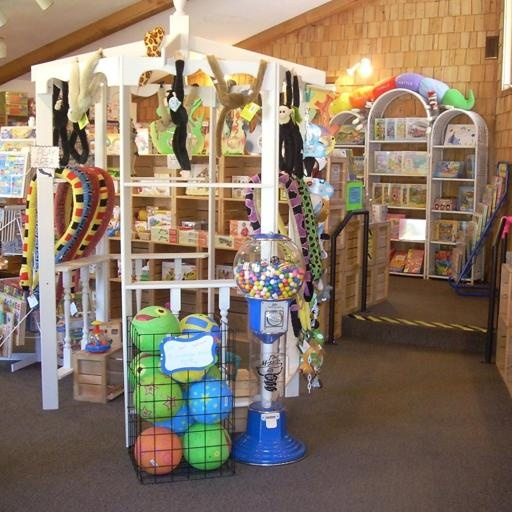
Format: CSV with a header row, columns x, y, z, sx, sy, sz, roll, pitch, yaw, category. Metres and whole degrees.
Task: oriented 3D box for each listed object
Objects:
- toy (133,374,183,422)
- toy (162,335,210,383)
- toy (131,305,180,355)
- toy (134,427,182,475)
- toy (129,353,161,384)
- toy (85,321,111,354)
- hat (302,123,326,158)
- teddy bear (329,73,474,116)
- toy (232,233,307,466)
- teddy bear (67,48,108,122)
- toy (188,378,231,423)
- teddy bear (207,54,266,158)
x,y,z,sx,sy,sz,roll,pitch,yaw,category
-0.420,0.641,2.239,0.214,0.234,0.212,2,17,1,toy
-0.316,0.468,2.164,0.232,0.245,0.124,0,3,-11,toy
-0.489,0.346,2.333,0.207,0.226,0.200,0,8,-11,toy
-0.467,0.867,2.270,0.217,0.231,0.229,-2,9,-21,toy
-0.514,0.517,2.205,0.156,0.115,0.086,-24,38,14,toy
-1.075,0.559,3.279,0.205,0.210,0.200,0,-5,-3,toy
0.368,-0.728,3.058,0.169,0.213,0.100,-1,3,-14,hat
2.174,-2.384,7.097,2.056,0.533,0.288,5,25,33,teddy bear
0.067,0.459,2.392,0.367,1.135,0.377,1,3,10,toy
-0.887,-0.885,2.500,0.263,0.331,0.131,3,4,39,teddy bear
-0.228,0.661,2.316,0.209,0.237,0.211,-1,-2,-29,toy
-0.096,-0.758,2.440,0.309,0.480,0.139,3,10,-3,teddy bear
